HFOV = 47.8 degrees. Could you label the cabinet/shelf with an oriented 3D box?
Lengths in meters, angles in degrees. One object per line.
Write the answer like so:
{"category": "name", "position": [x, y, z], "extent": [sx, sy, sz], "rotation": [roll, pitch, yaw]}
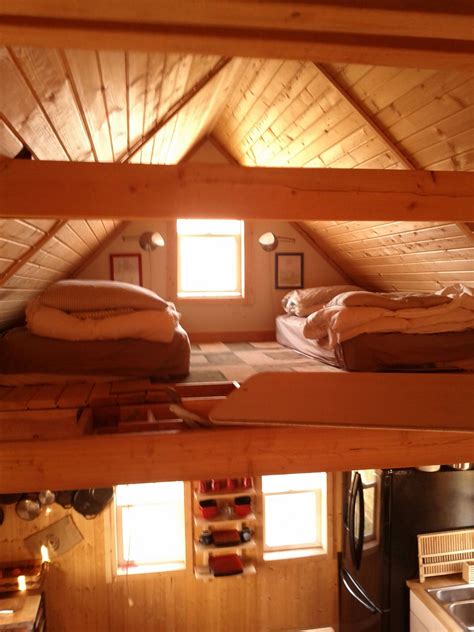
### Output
{"category": "cabinet/shelf", "position": [-0.067, 1.463, 3.697], "extent": [0.488, 0.647, 0.381], "rotation": [-1, -12, -7]}

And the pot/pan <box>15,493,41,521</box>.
{"category": "pot/pan", "position": [-1.376, 1.265, 3.500], "extent": [0.161, 0.176, 0.136], "rotation": [3, -13, -22]}

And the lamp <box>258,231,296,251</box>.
{"category": "lamp", "position": [0.351, -0.680, 4.828], "extent": [0.281, 0.097, 0.159], "rotation": [11, -40, -7]}

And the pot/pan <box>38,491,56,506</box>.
{"category": "pot/pan", "position": [-1.254, 1.204, 3.500], "extent": [0.102, 0.109, 0.175], "rotation": [0, -12, -12]}

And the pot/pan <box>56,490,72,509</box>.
{"category": "pot/pan", "position": [-1.155, 1.222, 3.535], "extent": [0.103, 0.123, 0.142], "rotation": [2, -12, -18]}

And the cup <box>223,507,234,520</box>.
{"category": "cup", "position": [-0.065, 1.379, 3.726], "extent": [0.052, 0.063, 0.091], "rotation": [0, -2, -7]}

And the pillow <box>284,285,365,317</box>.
{"category": "pillow", "position": [0.648, -0.108, 4.361], "extent": [0.422, 0.118, 0.371], "rotation": [-19, 2, 8]}
